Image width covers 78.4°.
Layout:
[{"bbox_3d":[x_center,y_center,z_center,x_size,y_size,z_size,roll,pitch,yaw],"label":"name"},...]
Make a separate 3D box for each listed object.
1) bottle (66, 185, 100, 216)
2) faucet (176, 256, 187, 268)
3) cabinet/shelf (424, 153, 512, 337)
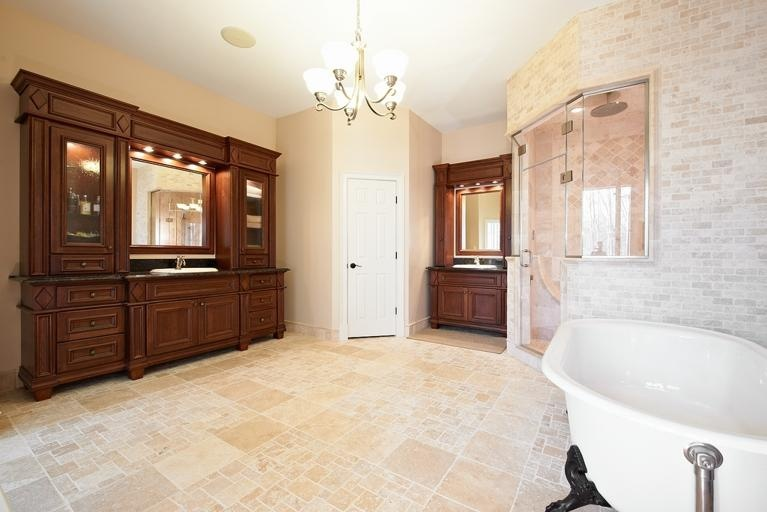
[{"bbox_3d":[-3.206,-0.561,5.001,0.316,0.306,0.181,0,4,-45],"label":"bottle"},{"bbox_3d":[-2.551,0.081,5.885,0.111,0.156,0.162,5,6,25],"label":"faucet"},{"bbox_3d":[1.305,-0.187,7.117,1.263,2.637,1.111,4,12,17],"label":"cabinet/shelf"}]
